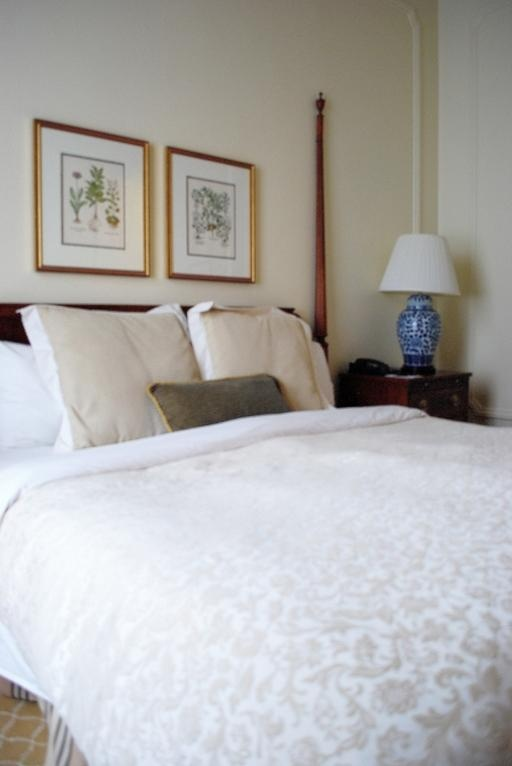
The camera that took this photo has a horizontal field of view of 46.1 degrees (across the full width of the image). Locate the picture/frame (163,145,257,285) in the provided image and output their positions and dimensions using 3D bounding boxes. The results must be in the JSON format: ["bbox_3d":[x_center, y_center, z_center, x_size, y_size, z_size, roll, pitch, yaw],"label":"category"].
[{"bbox_3d":[-0.215,-0.729,2.583,0.601,0.716,0.046,-5,7,-43],"label":"picture/frame"}]

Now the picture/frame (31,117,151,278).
[{"bbox_3d":[-0.622,-0.683,2.203,0.597,0.710,0.045,-5,6,-42],"label":"picture/frame"}]
